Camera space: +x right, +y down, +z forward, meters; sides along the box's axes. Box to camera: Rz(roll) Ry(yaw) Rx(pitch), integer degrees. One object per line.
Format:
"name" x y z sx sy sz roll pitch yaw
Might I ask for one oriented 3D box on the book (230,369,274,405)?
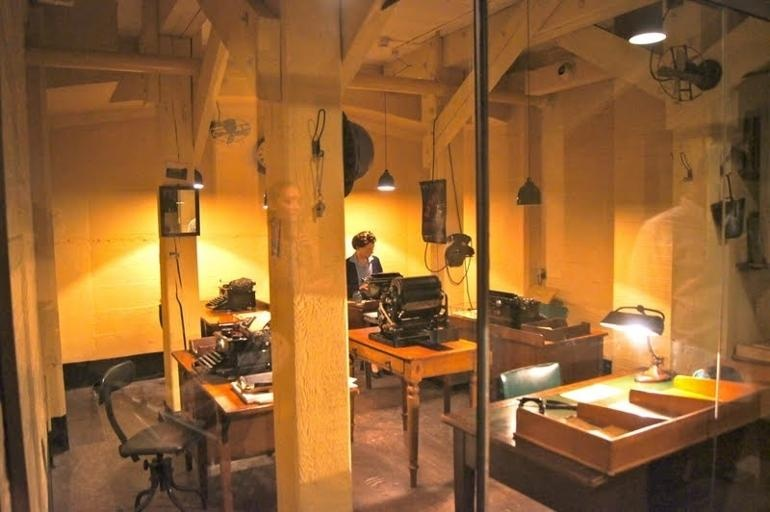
"book" -0.856 0.846 4.479 0.260 0.067 0.285 -2 11 -17

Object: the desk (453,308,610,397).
"desk" 1.298 0.808 5.586 0.398 0.463 0.733 -10 0 -23

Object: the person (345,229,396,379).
"person" -0.230 0.381 7.836 0.496 1.380 0.464 -18 32 -32

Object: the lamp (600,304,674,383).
"lamp" 1.430 0.482 4.024 0.469 0.527 0.426 2 -3 -34

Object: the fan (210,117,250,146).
"fan" -1.435 -1.191 6.519 0.296 0.116 0.232 -12 39 -22

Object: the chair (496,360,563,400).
"chair" 0.889 0.750 4.301 0.244 0.304 0.247 2 -8 -22

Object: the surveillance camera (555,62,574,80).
"surveillance camera" 0.950 -0.984 3.672 0.091 0.073 0.046 -5 -4 13

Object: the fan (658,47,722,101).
"fan" 1.599 -0.949 3.766 0.317 0.285 0.297 -4 4 -22

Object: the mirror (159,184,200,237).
"mirror" -1.582 -0.355 5.307 0.035 0.425 0.387 13 12 36

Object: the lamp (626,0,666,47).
"lamp" 1.364 -1.183 3.581 0.186 0.190 0.199 -1 2 -41
